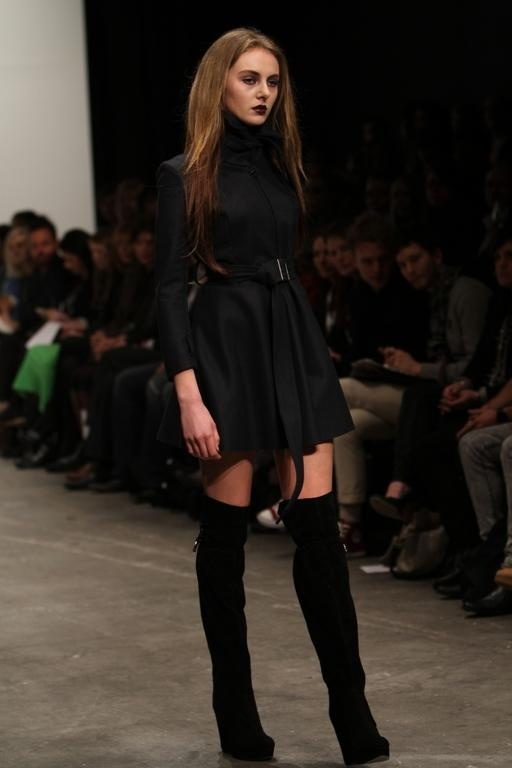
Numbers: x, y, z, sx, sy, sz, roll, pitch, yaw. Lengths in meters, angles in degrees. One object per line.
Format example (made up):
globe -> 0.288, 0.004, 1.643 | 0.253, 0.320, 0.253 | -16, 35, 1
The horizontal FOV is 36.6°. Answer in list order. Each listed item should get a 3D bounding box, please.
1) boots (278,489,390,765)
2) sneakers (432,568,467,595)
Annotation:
boots -> 0.115, 0.361, 1.143 | 0.139, 0.394, 0.051 | -2, -2, 7
sneakers -> 0.588, 0.607, 2.353 | 0.137, 0.081, 0.046 | 12, -18, -33
